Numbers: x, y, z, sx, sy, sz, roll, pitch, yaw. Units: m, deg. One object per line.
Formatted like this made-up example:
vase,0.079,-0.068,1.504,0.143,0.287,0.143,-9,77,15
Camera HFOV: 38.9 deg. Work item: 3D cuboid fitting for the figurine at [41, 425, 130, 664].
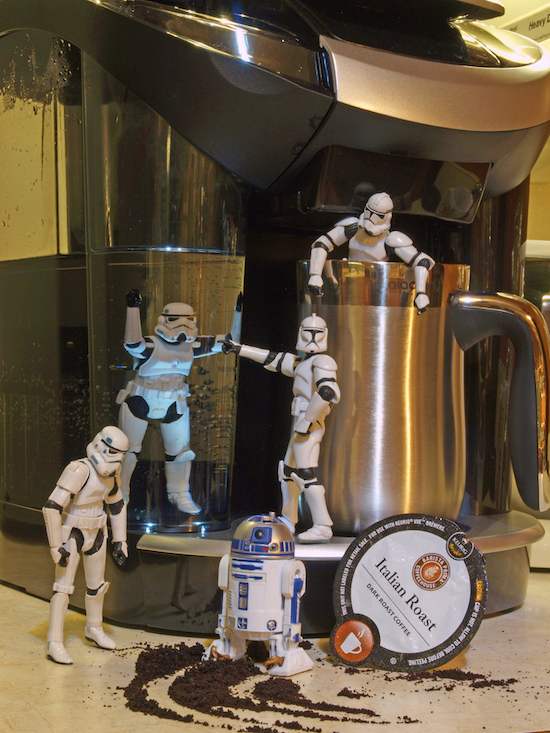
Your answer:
figurine,-0.406,0.370,1.701,0.165,0.484,0.270,2,-2,-11

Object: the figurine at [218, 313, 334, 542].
figurine,0.067,0.145,1.862,0.271,0.527,0.268,0,-2,31

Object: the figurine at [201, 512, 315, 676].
figurine,-0.030,0.454,1.572,0.217,0.308,0.114,1,-2,5

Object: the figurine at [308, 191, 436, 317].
figurine,0.224,-0.266,1.837,0.262,0.330,0.116,12,37,4
